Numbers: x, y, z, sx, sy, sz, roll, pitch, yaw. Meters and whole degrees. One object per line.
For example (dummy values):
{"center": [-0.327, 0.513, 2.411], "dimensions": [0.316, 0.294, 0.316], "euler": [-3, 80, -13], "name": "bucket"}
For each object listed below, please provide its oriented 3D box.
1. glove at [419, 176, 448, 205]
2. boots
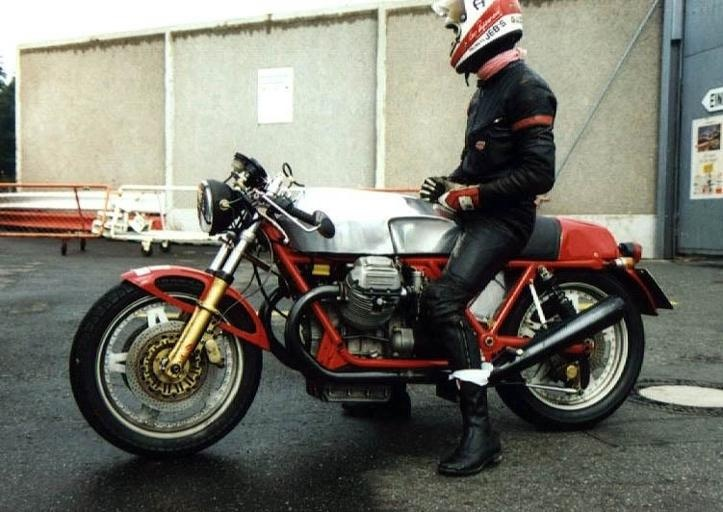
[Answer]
{"center": [0.532, -0.513, 5.854], "dimensions": [0.193, 0.210, 0.052], "euler": [0, 4, -21], "name": "glove"}
{"center": [0.793, 1.204, 5.431], "dimensions": [0.444, 0.719, 0.305], "euler": [2, 10, 6], "name": "boots"}
